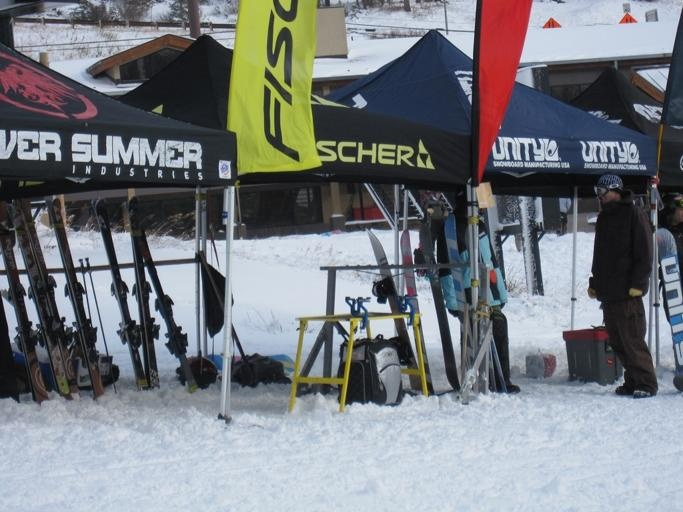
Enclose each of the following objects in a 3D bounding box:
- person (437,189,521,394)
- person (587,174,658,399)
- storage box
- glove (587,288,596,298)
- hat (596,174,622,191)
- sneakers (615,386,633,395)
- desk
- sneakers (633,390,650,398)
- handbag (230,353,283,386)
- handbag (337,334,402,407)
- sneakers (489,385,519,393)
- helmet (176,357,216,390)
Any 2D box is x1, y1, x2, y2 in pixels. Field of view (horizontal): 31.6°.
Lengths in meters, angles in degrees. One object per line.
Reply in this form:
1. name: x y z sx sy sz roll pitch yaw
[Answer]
1. person: 1.501 0.269 13.333 0.375 2.701 0.645 -2 -4 -19
2. person: 3.068 0.303 13.082 0.470 2.315 0.849 -5 11 -23
3. storage box: 2.820 1.114 13.787 0.469 0.619 0.394 -2 2 42
4. glove: 2.787 0.398 13.472 0.094 0.142 0.040 0 3 40
5. hat: 2.923 -0.815 13.257 0.202 0.211 0.190 10 -2 -5
6. sneakers: 3.043 1.444 13.095 0.142 0.067 0.088 -2 10 13
7. desk: 0.194 1.104 13.091 1.392 1.029 0.830 0 -3 -45
8. sneakers: 3.198 1.459 12.931 0.126 0.055 0.084 6 -8 -12
9. handbag: -0.902 1.279 13.608 0.331 0.170 0.449 3 1 37
10. handbag: 0.353 1.217 12.945 0.676 0.805 0.558 1 -4 10
11. sneakers: 1.766 1.429 13.146 0.241 0.092 0.147 3 -4 -35
12. helmet: -1.589 1.247 13.619 0.273 0.426 0.132 -2 4 -24
